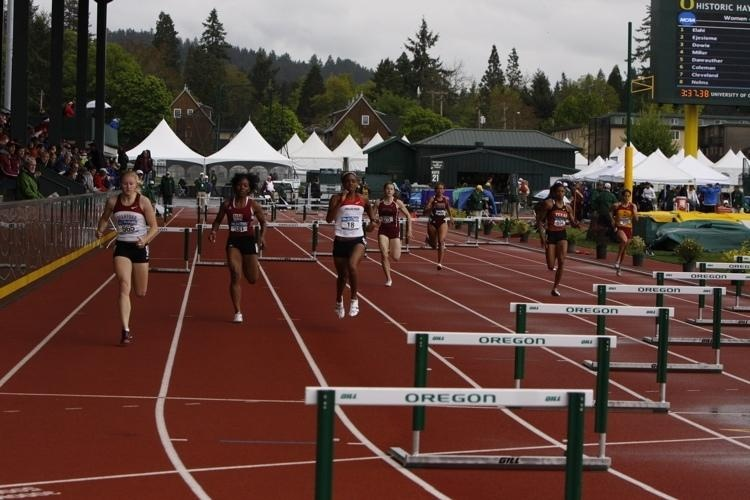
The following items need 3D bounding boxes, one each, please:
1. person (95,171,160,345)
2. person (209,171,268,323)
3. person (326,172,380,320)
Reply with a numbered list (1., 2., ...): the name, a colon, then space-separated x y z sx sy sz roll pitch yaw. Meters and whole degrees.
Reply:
1. person: -3.878 -0.054 13.746 0.934 2.976 1.128 -1 -2 -10
2. person: -2.412 -0.077 15.351 0.965 2.577 1.268 0 1 -23
3. person: -0.406 -0.130 15.427 0.885 2.643 0.977 1 -1 -3
